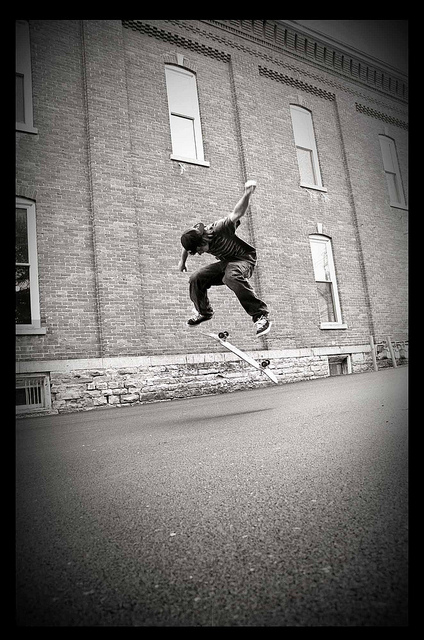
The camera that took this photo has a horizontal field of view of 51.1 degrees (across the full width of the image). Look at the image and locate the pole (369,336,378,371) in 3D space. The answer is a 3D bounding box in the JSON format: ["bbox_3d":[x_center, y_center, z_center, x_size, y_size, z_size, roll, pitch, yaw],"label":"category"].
[{"bbox_3d":[3.288,0.691,9.067,0.120,0.721,0.994,-4,0,19],"label":"pole"}]

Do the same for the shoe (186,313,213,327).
[{"bbox_3d":[-0.220,-0.004,6.676,0.295,0.118,0.124,-19,-16,14],"label":"shoe"}]

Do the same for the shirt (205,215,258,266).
[{"bbox_3d":[0.200,-0.926,5.324,0.512,0.580,0.646,-5,0,14],"label":"shirt"}]

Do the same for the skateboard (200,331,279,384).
[{"bbox_3d":[0.417,0.691,7.931,1.356,0.214,0.281,40,24,23],"label":"skateboard"}]

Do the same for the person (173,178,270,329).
[{"bbox_3d":[-0.003,-0.677,5.481,1.660,1.495,0.896,-14,-17,40],"label":"person"}]

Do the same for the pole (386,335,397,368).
[{"bbox_3d":[3.851,0.684,9.546,0.134,0.699,0.564,-4,0,25],"label":"pole"}]

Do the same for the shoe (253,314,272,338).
[{"bbox_3d":[0.563,0.058,5.113,0.172,0.259,0.281,-5,0,3],"label":"shoe"}]
